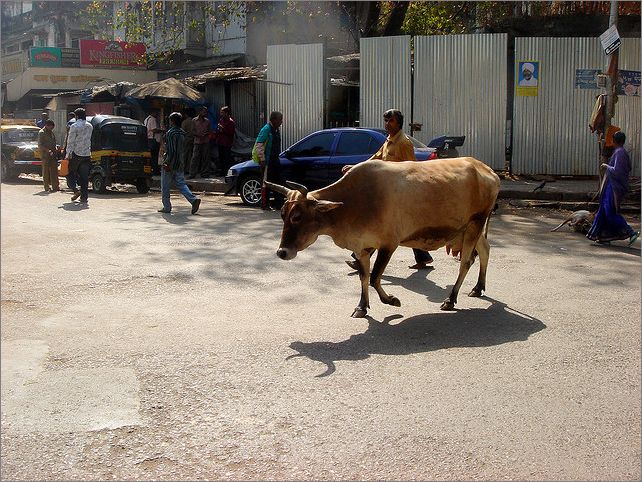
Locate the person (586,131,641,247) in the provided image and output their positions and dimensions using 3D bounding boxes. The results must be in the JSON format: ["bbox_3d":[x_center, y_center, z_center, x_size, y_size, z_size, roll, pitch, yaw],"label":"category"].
[{"bbox_3d":[5.143,-0.907,10.929,0.782,1.921,0.749,5,12,24],"label":"person"}]

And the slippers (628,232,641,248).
[{"bbox_3d":[5.373,-0.033,10.785,0.128,0.266,0.416,6,12,26],"label":"slippers"}]

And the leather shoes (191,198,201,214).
[{"bbox_3d":[-2.652,-0.731,13.590,0.139,0.353,0.234,16,-1,-19],"label":"leather shoes"}]

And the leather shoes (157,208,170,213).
[{"bbox_3d":[-3.361,-0.653,13.456,0.253,0.104,0.093,7,11,10],"label":"leather shoes"}]

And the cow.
[{"bbox_3d":[0.857,-0.011,6.869,2.799,1.708,0.886,-7,10,-24],"label":"cow"}]

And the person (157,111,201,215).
[{"bbox_3d":[-3.152,-1.700,13.719,0.821,2.136,1.056,-2,11,-15],"label":"person"}]
